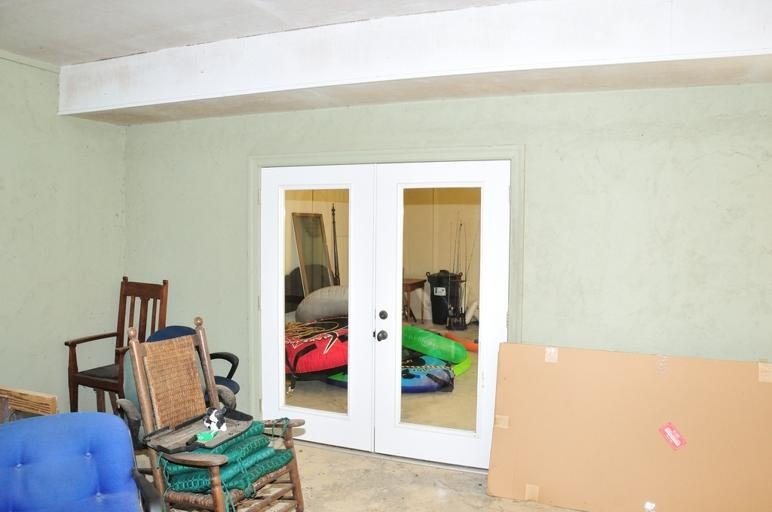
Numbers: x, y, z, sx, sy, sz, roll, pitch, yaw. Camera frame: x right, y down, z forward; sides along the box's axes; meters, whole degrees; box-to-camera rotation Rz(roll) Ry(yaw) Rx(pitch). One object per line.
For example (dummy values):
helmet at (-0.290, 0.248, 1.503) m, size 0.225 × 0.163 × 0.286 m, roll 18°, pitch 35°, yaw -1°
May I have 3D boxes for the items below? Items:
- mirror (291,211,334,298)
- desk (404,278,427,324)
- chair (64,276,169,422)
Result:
mirror at (-0.641, -0.007, 5.141) m, size 0.340 × 0.747 × 0.059 m, roll -8°, pitch 3°, yaw -38°
desk at (0.236, 0.359, 5.120) m, size 0.311 × 0.424 × 0.303 m, roll -1°, pitch 3°, yaw 2°
chair at (-2.358, 0.907, 5.231) m, size 0.819 × 1.308 × 0.809 m, roll 4°, pitch 8°, yaw 44°
